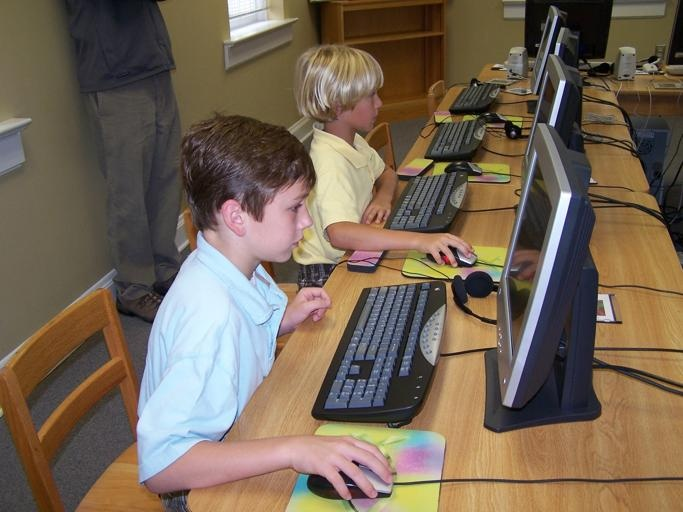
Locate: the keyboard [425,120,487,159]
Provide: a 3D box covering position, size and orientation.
[{"bbox_3d":[0.513,-0.519,2.392,0.235,0.078,0.448,5,33,19],"label":"keyboard"}]

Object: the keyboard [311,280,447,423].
[{"bbox_3d":[0.094,0.222,1.187,0.188,0.081,0.434,5,38,16],"label":"keyboard"}]

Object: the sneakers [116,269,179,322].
[{"bbox_3d":[-0.883,0.178,2.369,0.164,0.096,0.253,-18,28,18],"label":"sneakers"}]

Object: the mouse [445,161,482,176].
[{"bbox_3d":[0.475,-0.342,2.078,0.113,0.039,0.074,-2,34,3],"label":"mouse"}]

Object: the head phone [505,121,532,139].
[{"bbox_3d":[0.802,-0.571,2.444,0.088,0.047,0.079,29,17,1],"label":"head phone"}]

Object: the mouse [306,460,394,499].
[{"bbox_3d":[0.009,0.402,0.958,0.121,0.032,0.070,4,36,7],"label":"mouse"}]

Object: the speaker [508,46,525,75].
[{"bbox_3d":[1.111,-1.244,3.409,0.104,0.179,0.172,6,61,15],"label":"speaker"}]

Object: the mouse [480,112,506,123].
[{"bbox_3d":[0.736,-0.672,2.622,0.087,0.032,0.061,3,44,0],"label":"mouse"}]

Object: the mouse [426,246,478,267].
[{"bbox_3d":[0.342,0.006,1.518,0.076,0.028,0.047,17,55,20],"label":"mouse"}]
